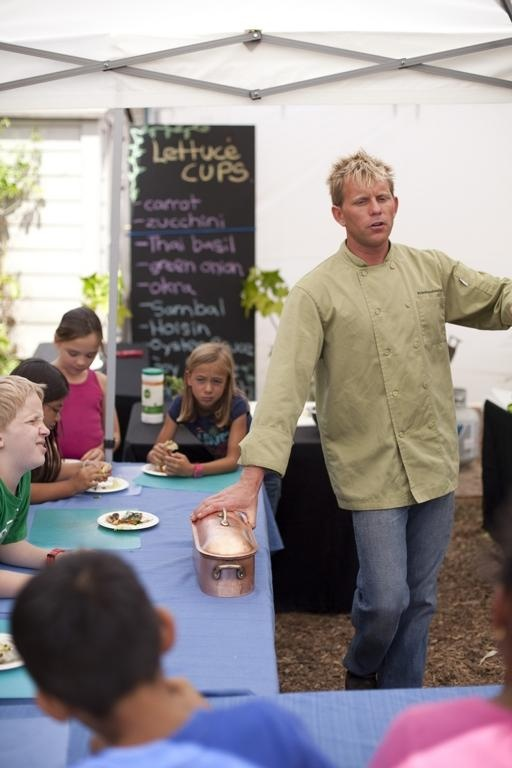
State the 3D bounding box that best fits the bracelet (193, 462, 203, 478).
[{"bbox_3d":[-0.224,0.334,2.860,0.042,0.046,0.047,3,2,-12],"label":"bracelet"}]
